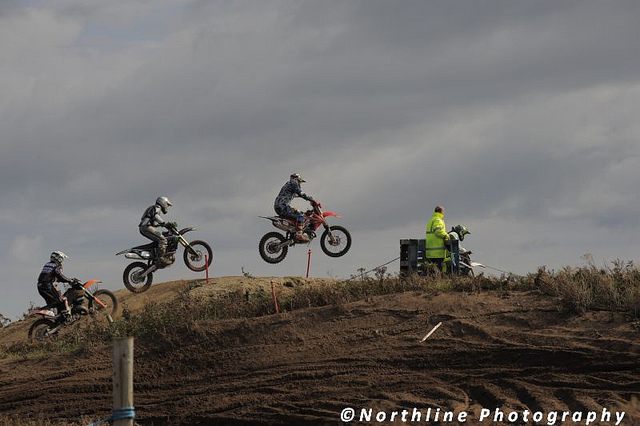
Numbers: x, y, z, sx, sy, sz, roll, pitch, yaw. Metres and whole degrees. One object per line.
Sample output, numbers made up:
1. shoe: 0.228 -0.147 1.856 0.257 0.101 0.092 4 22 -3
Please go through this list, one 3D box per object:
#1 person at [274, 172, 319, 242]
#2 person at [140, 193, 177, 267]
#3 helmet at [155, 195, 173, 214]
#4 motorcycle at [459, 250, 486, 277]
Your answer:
1. person: -0.841 -0.284 31.268 1.190 2.225 1.122 -2 -11 -4
2. person: -5.298 0.560 31.402 0.984 2.266 0.569 -1 -11 -9
3. helmet: -4.308 -0.244 26.258 0.413 0.403 0.320 29 -7 -36
4. motorcycle: 4.504 1.524 29.534 0.524 0.859 1.086 -5 -11 8
